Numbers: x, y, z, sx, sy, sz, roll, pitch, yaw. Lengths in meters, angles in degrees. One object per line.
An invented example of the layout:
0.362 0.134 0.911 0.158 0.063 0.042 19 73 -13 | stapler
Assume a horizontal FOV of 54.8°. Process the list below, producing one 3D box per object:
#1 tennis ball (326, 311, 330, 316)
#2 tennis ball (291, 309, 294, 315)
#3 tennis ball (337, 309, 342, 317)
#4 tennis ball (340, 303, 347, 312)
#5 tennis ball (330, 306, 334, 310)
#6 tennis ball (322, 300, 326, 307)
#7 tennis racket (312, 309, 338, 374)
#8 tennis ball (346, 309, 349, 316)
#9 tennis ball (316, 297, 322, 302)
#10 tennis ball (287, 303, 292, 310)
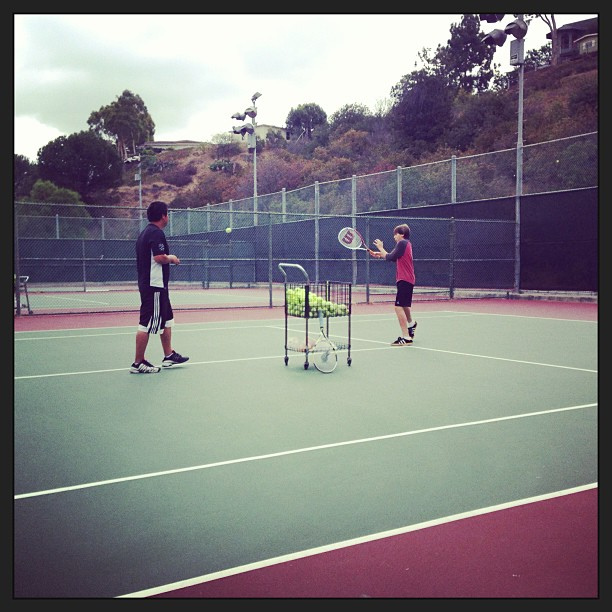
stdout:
0.257 0.084 6.934 0.029 0.068 0.058 -1 -2 30 | tennis ball
-0.166 0.060 7.118 0.046 0.114 0.053 1 -3 -9 | tennis ball
0.403 0.070 7.030 0.026 0.068 0.118 2 5 31 | tennis ball
0.443 0.025 7.102 0.053 0.090 0.106 -2 -3 25 | tennis ball
0.306 0.015 6.970 0.041 0.040 0.025 8 14 37 | tennis ball
0.212 -0.041 6.995 0.043 0.075 0.157 0 4 3 | tennis ball
0.211 0.435 7.172 0.280 0.912 0.081 4 33 13 | tennis racket
0.501 0.067 7.147 0.037 0.092 0.043 0 -4 -2 | tennis ball
0.151 -0.084 6.964 0.070 0.053 0.095 -1 4 -3 | tennis ball
-0.198 -0.001 7.184 0.048 0.118 0.056 1 -3 -8 | tennis ball
